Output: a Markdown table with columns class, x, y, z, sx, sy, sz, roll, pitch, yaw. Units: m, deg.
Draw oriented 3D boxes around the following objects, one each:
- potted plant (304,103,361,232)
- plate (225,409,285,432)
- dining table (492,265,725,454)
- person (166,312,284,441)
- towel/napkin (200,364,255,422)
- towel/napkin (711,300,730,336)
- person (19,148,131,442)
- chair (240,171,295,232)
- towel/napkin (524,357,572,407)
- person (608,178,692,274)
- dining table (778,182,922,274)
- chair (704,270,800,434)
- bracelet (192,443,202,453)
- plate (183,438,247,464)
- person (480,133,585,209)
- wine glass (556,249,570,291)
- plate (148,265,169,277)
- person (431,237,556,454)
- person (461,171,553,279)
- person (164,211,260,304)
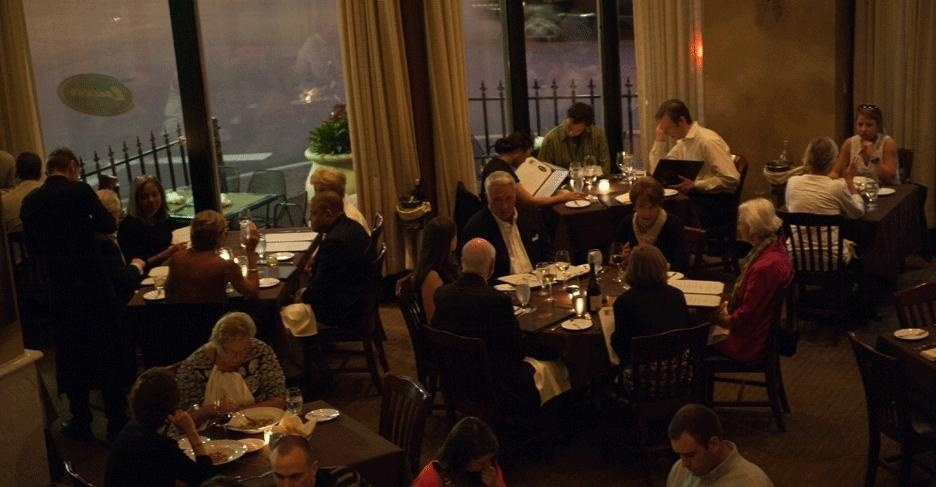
| class | x | y | z | sx | sy | sz | roll | pitch | yaw |
| --- | --- | --- | --- | --- | --- | --- | --- | --- | --- |
| potted plant | -1.909 | -1.023 | 10.302 | 0.828 | 1.731 | 0.797 | -9 | 15 | -43 |
| plate | -1.827 | 1.499 | 6.123 | 0.266 | 0.057 | 0.251 | 0 | 19 | 5 |
| dining table | 1.153 | 1.122 | 7.368 | 1.812 | 1.058 | 1.630 | 1 | 51 | 10 |
| person | -2.210 | 1.255 | 6.537 | 1.000 | 1.194 | 0.814 | -3 | 20 | -37 |
| towel/napkin | -2.066 | 1.302 | 6.388 | 0.459 | 0.393 | 0.134 | -5 | 14 | 23 |
| towel/napkin | 2.518 | 0.739 | 7.092 | 0.105 | 0.261 | 0.213 | 26 | -18 | -34 |
| person | -3.970 | 0.524 | 7.352 | 0.838 | 2.946 | 0.520 | -12 | 11 | -26 |
| chair | -2.816 | -0.487 | 9.898 | 0.635 | 0.879 | 0.641 | 1 | 31 | -9 |
| towel/napkin | 0.773 | 1.279 | 6.872 | 0.284 | 0.352 | 0.506 | -9 | -1 | 40 |
| person | 2.014 | -0.165 | 7.868 | 0.923 | 1.076 | 0.727 | 11 | 25 | 33 |
| dining table | 5.078 | -0.249 | 8.867 | 1.347 | 0.591 | 1.339 | -38 | 26 | -29 |
| chair | 2.876 | 1.114 | 7.415 | 0.887 | 1.278 | 0.823 | 1 | 6 | 20 |
| bracelet | -2.205 | 1.642 | 5.795 | 0.070 | 0.047 | 0.067 | 0 | 4 | 17 |
| plate | -2.056 | 1.690 | 5.885 | 0.280 | 0.057 | 0.260 | 1 | 9 | -5 |
| person | 0.772 | -0.998 | 9.370 | 1.334 | 0.959 | 0.931 | 0 | 31 | -4 |
| wine glass | 0.996 | 0.279 | 7.542 | 0.184 | 0.389 | 0.168 | -1 | -6 | -13 |
| plate | -3.453 | 0.306 | 7.987 | 0.236 | 0.049 | 0.212 | 3 | 17 | 8 |
| person | 0.152 | 0.884 | 6.693 | 0.865 | 1.823 | 0.408 | -8 | 10 | -3 |
| person | 0.460 | -0.185 | 7.981 | 0.898 | 1.358 | 0.739 | -22 | 21 | -22 |
| person | -2.644 | 0.137 | 7.322 | 0.990 | 0.923 | 0.358 | -10 | 10 | -22 |
